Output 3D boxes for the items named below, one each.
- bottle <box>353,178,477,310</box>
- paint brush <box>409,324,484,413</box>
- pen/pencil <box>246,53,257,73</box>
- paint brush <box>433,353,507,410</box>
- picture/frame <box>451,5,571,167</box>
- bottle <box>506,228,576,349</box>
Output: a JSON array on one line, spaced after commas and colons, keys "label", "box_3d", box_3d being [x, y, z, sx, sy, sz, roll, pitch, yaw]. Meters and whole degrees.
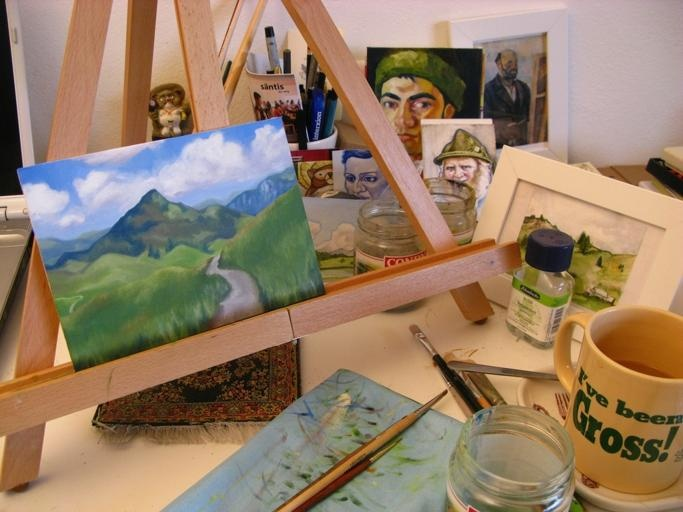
[{"label": "bottle", "box_3d": [0.097, -0.041, 0.904, 0.198, 0.199, 0.197, -24, 32, -24]}, {"label": "paint brush", "box_3d": [0.148, 0.148, 0.754, 0.029, 0.026, 0.178, -29, 33, 5]}, {"label": "pen/pencil", "box_3d": [-0.162, -0.345, 0.945, 0.025, 0.031, 0.014, -25, 33, -38]}, {"label": "paint brush", "box_3d": [0.178, 0.153, 0.699, 0.024, 0.029, 0.099, -3, 35, -15]}, {"label": "picture/frame", "box_3d": [0.305, -0.329, 0.982, 0.269, 0.352, 0.014, -13, 16, -12]}, {"label": "bottle", "box_3d": [0.290, 0.040, 0.763, 0.093, 0.168, 0.080, -22, 31, -35]}]
